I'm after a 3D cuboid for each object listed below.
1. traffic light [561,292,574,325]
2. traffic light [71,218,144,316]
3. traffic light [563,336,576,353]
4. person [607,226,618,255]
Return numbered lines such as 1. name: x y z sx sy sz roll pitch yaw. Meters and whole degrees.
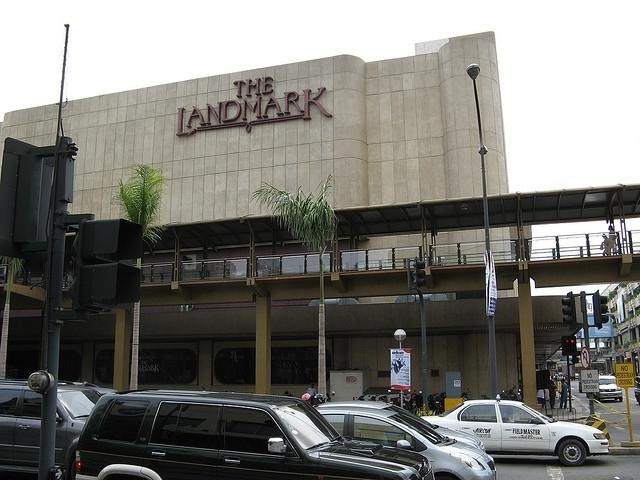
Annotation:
1. traffic light: 9.071 2.451 27.064 0.420 1.224 1.270 -5 -13 17
2. traffic light: -3.873 0.501 13.106 0.803 1.602 0.927 -3 -16 1
3. traffic light: 9.812 4.165 29.402 0.577 0.666 0.214 -1 -16 1
4. person: 12.387 0.077 31.370 0.480 0.999 0.242 -7 -13 24
